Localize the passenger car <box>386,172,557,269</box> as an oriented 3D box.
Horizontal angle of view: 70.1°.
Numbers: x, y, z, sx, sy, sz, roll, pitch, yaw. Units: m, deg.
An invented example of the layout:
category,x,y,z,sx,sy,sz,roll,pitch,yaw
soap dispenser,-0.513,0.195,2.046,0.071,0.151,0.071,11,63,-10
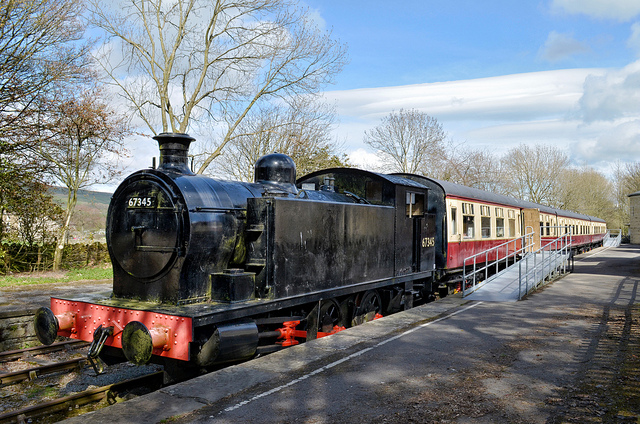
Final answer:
category,x,y,z,sx,sy,sz,roll,pitch,yaw
passenger car,8.272,0.730,23.009,3.285,3.766,17.606,-2,-3,34
